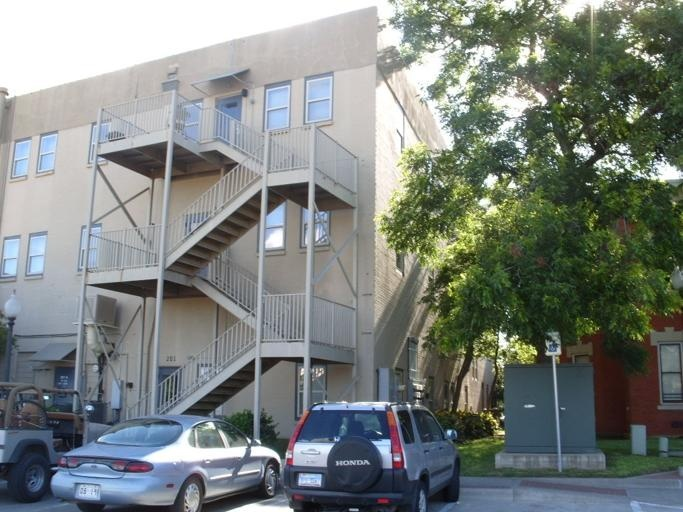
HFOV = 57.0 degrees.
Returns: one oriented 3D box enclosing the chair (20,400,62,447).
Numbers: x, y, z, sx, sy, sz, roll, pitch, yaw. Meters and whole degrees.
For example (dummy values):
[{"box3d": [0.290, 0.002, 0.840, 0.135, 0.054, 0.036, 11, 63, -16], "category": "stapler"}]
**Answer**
[{"box3d": [-6.033, 3.212, 12.494, 0.447, 0.504, 0.454, 1, -4, 13], "category": "chair"}]
